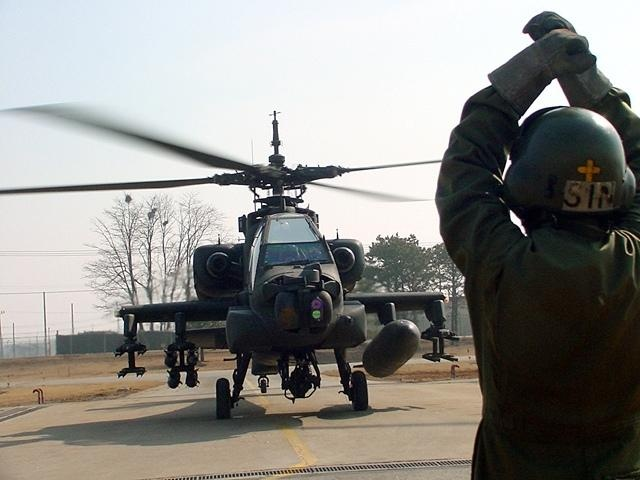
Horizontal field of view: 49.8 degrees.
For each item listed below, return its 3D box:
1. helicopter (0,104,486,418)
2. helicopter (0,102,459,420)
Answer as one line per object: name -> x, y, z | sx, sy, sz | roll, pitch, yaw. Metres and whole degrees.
helicopter -> -0.735, 0.886, 12.022 | 5.595, 2.789, 6.084 | 0, -5, -11
helicopter -> -1.121, 0.765, 11.995 | 5.631, 2.942, 6.070 | 0, -6, -10
